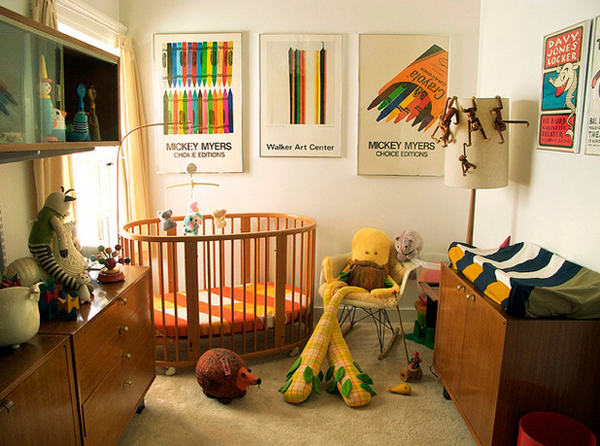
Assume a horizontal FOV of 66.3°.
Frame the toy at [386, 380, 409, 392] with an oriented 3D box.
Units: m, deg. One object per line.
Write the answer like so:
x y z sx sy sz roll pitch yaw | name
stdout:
0.632 1.042 2.986 0.146 0.051 0.149 0 10 8 | toy

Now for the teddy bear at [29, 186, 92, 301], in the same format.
-1.172 0.107 2.242 0.269 0.521 0.303 11 5 26 | teddy bear

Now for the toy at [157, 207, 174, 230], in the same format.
-1.011 -0.025 3.428 0.116 0.156 0.099 -13 17 -23 | toy

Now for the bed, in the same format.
-0.579 0.421 3.564 1.396 0.978 0.977 -2 15 -19 | bed

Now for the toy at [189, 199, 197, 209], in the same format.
-0.837 -0.144 3.586 0.030 0.065 0.058 0 22 -32 | toy

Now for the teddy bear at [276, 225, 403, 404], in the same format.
0.325 0.639 3.168 0.507 0.523 1.459 20 48 -4 | teddy bear

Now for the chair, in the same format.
0.495 0.560 3.483 0.509 0.616 0.553 4 4 -8 | chair

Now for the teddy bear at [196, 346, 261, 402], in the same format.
-0.462 0.949 2.912 0.385 0.279 0.250 9 8 12 | teddy bear

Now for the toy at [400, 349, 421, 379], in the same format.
0.730 0.934 3.081 0.127 0.213 0.138 1 11 13 | toy

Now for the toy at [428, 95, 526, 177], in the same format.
1.119 -0.637 2.988 0.499 0.501 0.512 -20 19 -33 | toy
